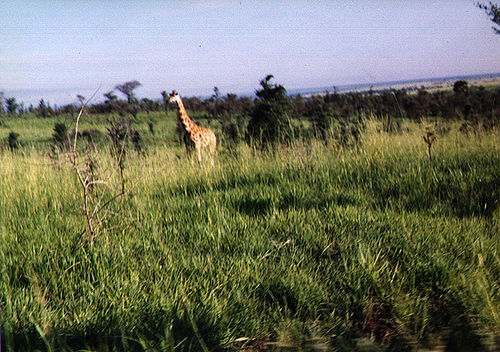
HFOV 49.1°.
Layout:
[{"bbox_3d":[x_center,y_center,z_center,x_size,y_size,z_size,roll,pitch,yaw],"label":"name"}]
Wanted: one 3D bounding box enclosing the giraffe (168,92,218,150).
[{"bbox_3d":[-1.285,-1.216,12.336,0.976,1.299,1.824,-5,5,-6],"label":"giraffe"}]
